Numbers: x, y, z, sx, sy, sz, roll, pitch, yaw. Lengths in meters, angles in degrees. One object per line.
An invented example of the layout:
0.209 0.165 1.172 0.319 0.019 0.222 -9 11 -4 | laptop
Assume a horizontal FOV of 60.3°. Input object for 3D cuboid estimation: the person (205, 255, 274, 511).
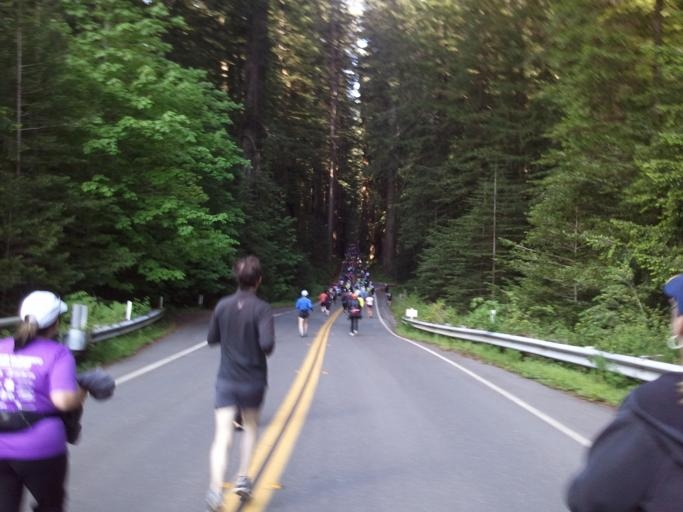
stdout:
-1.066 1.287 6.112 0.672 1.745 1.051 3 2 -13 | person
